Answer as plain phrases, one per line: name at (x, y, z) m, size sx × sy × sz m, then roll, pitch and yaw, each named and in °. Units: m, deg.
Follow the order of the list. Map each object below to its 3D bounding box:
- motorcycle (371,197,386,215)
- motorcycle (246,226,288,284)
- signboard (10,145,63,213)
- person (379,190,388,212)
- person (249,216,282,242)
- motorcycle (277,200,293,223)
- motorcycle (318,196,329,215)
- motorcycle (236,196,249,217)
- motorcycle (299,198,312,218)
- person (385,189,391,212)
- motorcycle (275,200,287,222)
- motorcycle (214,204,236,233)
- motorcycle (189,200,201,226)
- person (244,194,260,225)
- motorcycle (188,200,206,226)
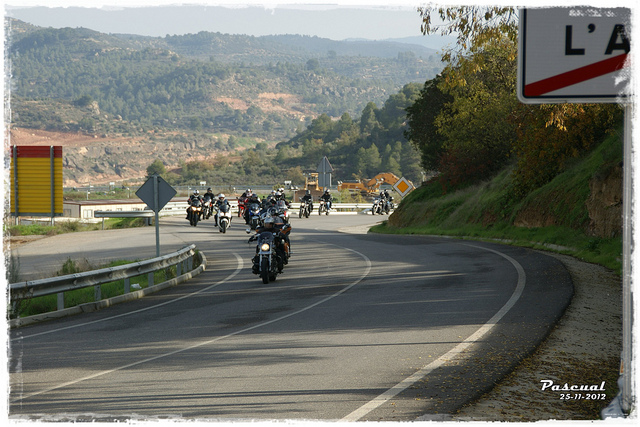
motorcycle at (5.050, -0.682, 71.710) m, size 1.125 × 1.343 × 1.320 m, roll -2°, pitch 4°, yaw -13°
motorcycle at (-1.535, 1.051, 25.251) m, size 1.117 × 1.544 × 2.315 m, roll 0°, pitch 11°, yaw 1°
signboard at (-14.727, -1.760, 44.058) m, size 3.098 × 3.258 × 0.246 m, roll -5°, pitch -2°, yaw 4°
person at (5.439, -1.134, 71.192) m, size 0.630 × 1.547 × 0.695 m, roll -1°, pitch 4°, yaw 2°
person at (-1.680, 0.487, 26.431) m, size 1.056 × 0.968 × 1.630 m, roll -4°, pitch 1°, yaw 1°
motorcycle at (-1.763, -0.122, 39.523) m, size 0.838 × 0.923 × 1.558 m, roll -1°, pitch 2°, yaw 5°
motorcycle at (0.318, -0.659, 66.930) m, size 0.649 × 1.287 × 1.150 m, roll -1°, pitch 4°, yaw 1°
motorcycle at (-5.270, -0.565, 57.282) m, size 0.876 × 1.092 × 1.679 m, roll 1°, pitch 13°, yaw -3°
motorcycle at (-0.952, -0.465, 62.511) m, size 0.653 × 1.241 × 0.768 m, roll -2°, pitch 4°, yaw -3°
person at (5.685, -1.134, 71.535) m, size 0.606 × 1.486 × 0.800 m, roll -2°, pitch 7°, yaw 29°
motorcycle at (-1.807, -0.023, 37.910) m, size 0.580 × 1.149 × 0.650 m, roll -6°, pitch -21°, yaw -3°
motorcycle at (-5.294, 0.302, 46.927) m, size 1.466 × 1.730 × 3.061 m, roll 0°, pitch -2°, yaw -3°
motorcycle at (-7.301, -0.061, 49.482) m, size 0.622 × 1.495 × 0.621 m, roll -2°, pitch 4°, yaw -5°
person at (-3.717, -0.419, 47.992) m, size 0.937 × 1.138 × 1.928 m, roll 2°, pitch 7°, yaw -10°
motorcycle at (-7.285, -0.072, 49.573) m, size 0.645 × 1.522 × 0.816 m, roll -2°, pitch 4°, yaw -9°
